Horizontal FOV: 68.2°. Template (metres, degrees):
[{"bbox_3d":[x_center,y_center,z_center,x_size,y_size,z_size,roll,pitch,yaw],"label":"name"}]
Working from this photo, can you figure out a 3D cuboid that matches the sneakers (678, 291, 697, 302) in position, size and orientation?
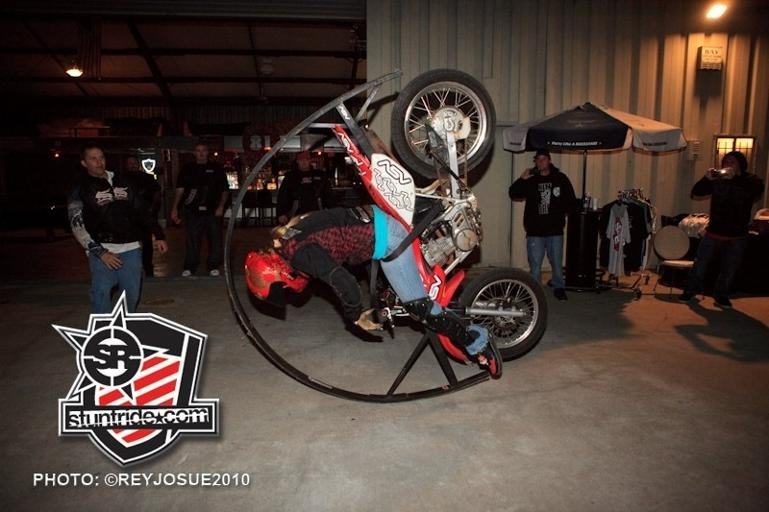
[{"bbox_3d":[5.231,0.720,9.929,0.374,0.149,0.162,-12,-23,22],"label":"sneakers"}]

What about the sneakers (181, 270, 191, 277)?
[{"bbox_3d":[-3.895,0.353,11.117,0.137,0.139,0.111,11,-14,-7],"label":"sneakers"}]

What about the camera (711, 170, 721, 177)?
[{"bbox_3d":[5.406,-1.350,9.260,0.146,0.083,0.207,1,0,-2],"label":"camera"}]

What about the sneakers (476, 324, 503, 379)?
[{"bbox_3d":[1.248,1.143,6.895,0.273,0.690,0.234,-20,7,-25],"label":"sneakers"}]

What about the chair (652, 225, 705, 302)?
[{"bbox_3d":[5.108,0.097,9.959,0.621,1.182,0.709,-1,8,-6],"label":"chair"}]

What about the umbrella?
[{"bbox_3d":[3.823,-1.818,10.933,3.006,1.978,3.171,-3,10,-18],"label":"umbrella"}]

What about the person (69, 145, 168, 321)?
[{"bbox_3d":[-3.642,-0.352,7.672,1.038,2.200,0.724,-11,18,-30],"label":"person"}]
